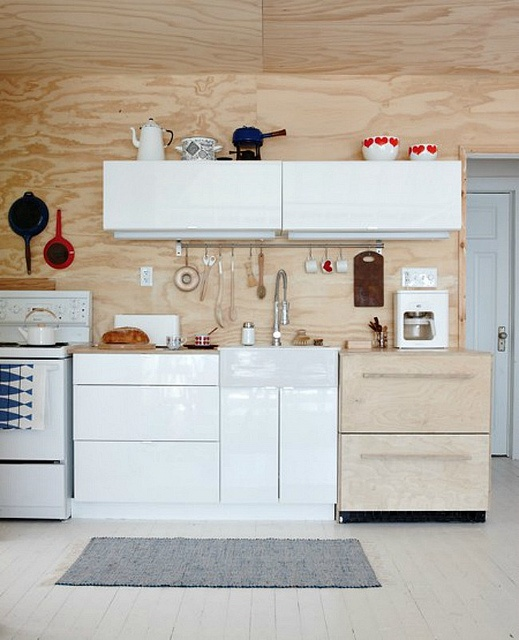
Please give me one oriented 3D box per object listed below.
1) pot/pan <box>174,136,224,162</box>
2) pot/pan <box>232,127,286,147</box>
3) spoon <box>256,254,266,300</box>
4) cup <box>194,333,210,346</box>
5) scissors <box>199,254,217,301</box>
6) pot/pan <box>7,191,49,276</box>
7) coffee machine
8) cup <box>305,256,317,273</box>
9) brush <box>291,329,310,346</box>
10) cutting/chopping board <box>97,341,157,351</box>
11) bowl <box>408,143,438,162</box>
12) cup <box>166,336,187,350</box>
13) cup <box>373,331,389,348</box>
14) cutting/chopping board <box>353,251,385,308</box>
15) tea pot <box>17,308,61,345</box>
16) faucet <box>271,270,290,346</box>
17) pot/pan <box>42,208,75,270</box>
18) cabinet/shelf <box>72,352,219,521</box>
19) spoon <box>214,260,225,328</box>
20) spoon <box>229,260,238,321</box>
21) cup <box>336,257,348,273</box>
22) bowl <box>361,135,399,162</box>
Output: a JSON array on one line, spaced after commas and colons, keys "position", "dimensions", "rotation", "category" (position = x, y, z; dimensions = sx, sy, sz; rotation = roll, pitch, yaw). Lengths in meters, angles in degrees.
[{"position": [-0.334, -0.950, 3.533], "dimensions": [0.247, 0.131, 0.091], "rotation": [0, 3, -7], "category": "pot/pan"}, {"position": [-0.018, -1.013, 3.510], "dimensions": [0.237, 0.074, 0.158], "rotation": [9, 13, 33], "category": "pot/pan"}, {"position": [0.004, -0.264, 3.741], "dimensions": [0.059, 0.245, 0.038], "rotation": [0, 2, 1], "category": "spoon"}, {"position": [-0.319, 0.109, 3.572], "dimensions": [0.071, 0.042, 0.065], "rotation": [1, 4, 0], "category": "cup"}, {"position": [-0.314, -0.253, 3.723], "dimensions": [0.090, 0.261, 0.014], "rotation": [9, -1, 2], "category": "scissors"}, {"position": [-1.373, -0.518, 3.795], "dimensions": [0.232, 0.487, 0.083], "rotation": [1, 4, 12], "category": "pot/pan"}, {"position": [0.920, 0.015, 3.629], "dimensions": [0.430, 0.429, 0.324], "rotation": [-1, -4, 3], "category": "coffee machine"}, {"position": [0.305, -0.323, 3.746], "dimensions": [0.077, 0.096, 0.056], "rotation": [0, 3, 0], "category": "cup"}, {"position": [0.228, 0.099, 3.637], "dimensions": [0.087, 0.061, 0.089], "rotation": [0, 4, 4], "category": "brush"}, {"position": [-0.714, 0.144, 3.388], "dimensions": [0.304, 0.033, 0.127], "rotation": [0, 3, 4], "category": "cutting/chopping board"}, {"position": [0.918, -0.938, 3.585], "dimensions": [0.131, 0.080, 0.126], "rotation": [0, 6, 0], "category": "bowl"}, {"position": [-0.456, 0.129, 3.519], "dimensions": [0.099, 0.058, 0.061], "rotation": [2, -3, -40], "category": "cup"}, {"position": [0.693, 0.114, 3.689], "dimensions": [0.099, 0.095, 0.091], "rotation": [2, -2, 0], "category": "cup"}, {"position": [0.641, -0.243, 3.761], "dimensions": [0.166, 0.332, 0.047], "rotation": [0, 3, 4], "category": "cutting/chopping board"}, {"position": [-1.155, 0.033, 3.536], "dimensions": [0.319, 0.242, 0.179], "rotation": [0, 1, -14], "category": "tea pot"}, {"position": [0.122, -0.077, 3.674], "dimensions": [0.099, 0.438, 0.209], "rotation": [0, 3, 2], "category": "faucet"}, {"position": [-1.187, -0.478, 3.713], "dimensions": [0.215, 0.324, 0.051], "rotation": [-1, 4, -2], "category": "pot/pan"}, {"position": [-0.499, 0.616, 3.678], "dimensions": [1.041, 1.012, 0.765], "rotation": [0, -6, 0], "category": "cabinet/shelf"}, {"position": [-0.232, -0.161, 3.752], "dimensions": [0.055, 0.419, 0.055], "rotation": [0, 3, -5], "category": "spoon"}, {"position": [-0.157, -0.176, 3.761], "dimensions": [0.051, 0.368, 0.038], "rotation": [0, 3, -1], "category": "spoon"}, {"position": [0.487, -0.323, 3.751], "dimensions": [0.077, 0.096, 0.050], "rotation": [0, 3, -6], "category": "cup"}, {"position": [0.675, -0.949, 3.525], "dimensions": [0.174, 0.117, 0.165], "rotation": [0, 7, 0], "category": "bowl"}]
